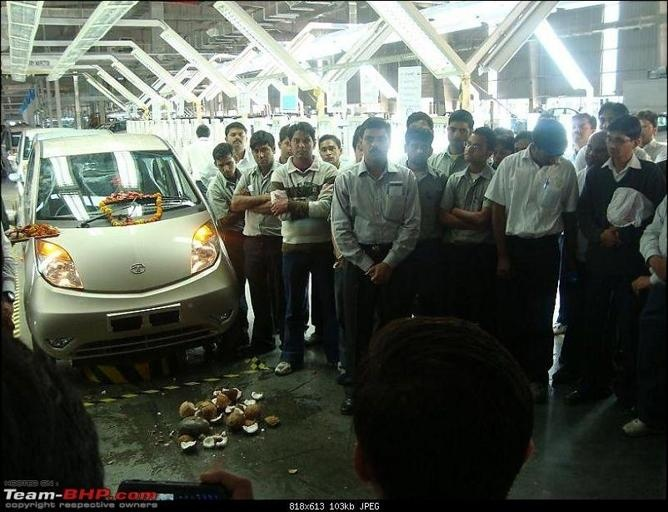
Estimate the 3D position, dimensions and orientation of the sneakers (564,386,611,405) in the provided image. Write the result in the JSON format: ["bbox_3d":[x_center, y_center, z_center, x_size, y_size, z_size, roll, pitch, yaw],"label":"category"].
[{"bbox_3d":[1.788,0.992,3.947,0.343,0.144,0.115,1,4,-4],"label":"sneakers"}]

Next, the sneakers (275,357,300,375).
[{"bbox_3d":[-0.369,0.901,4.446,0.085,0.087,0.200,-2,-5,39],"label":"sneakers"}]

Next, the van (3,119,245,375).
[{"bbox_3d":[-1.854,-0.217,4.850,1.239,1.253,2.565,-6,11,-21],"label":"van"}]

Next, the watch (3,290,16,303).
[{"bbox_3d":[-1.705,0.219,2.899,0.038,0.049,0.043,-2,1,-26],"label":"watch"}]
